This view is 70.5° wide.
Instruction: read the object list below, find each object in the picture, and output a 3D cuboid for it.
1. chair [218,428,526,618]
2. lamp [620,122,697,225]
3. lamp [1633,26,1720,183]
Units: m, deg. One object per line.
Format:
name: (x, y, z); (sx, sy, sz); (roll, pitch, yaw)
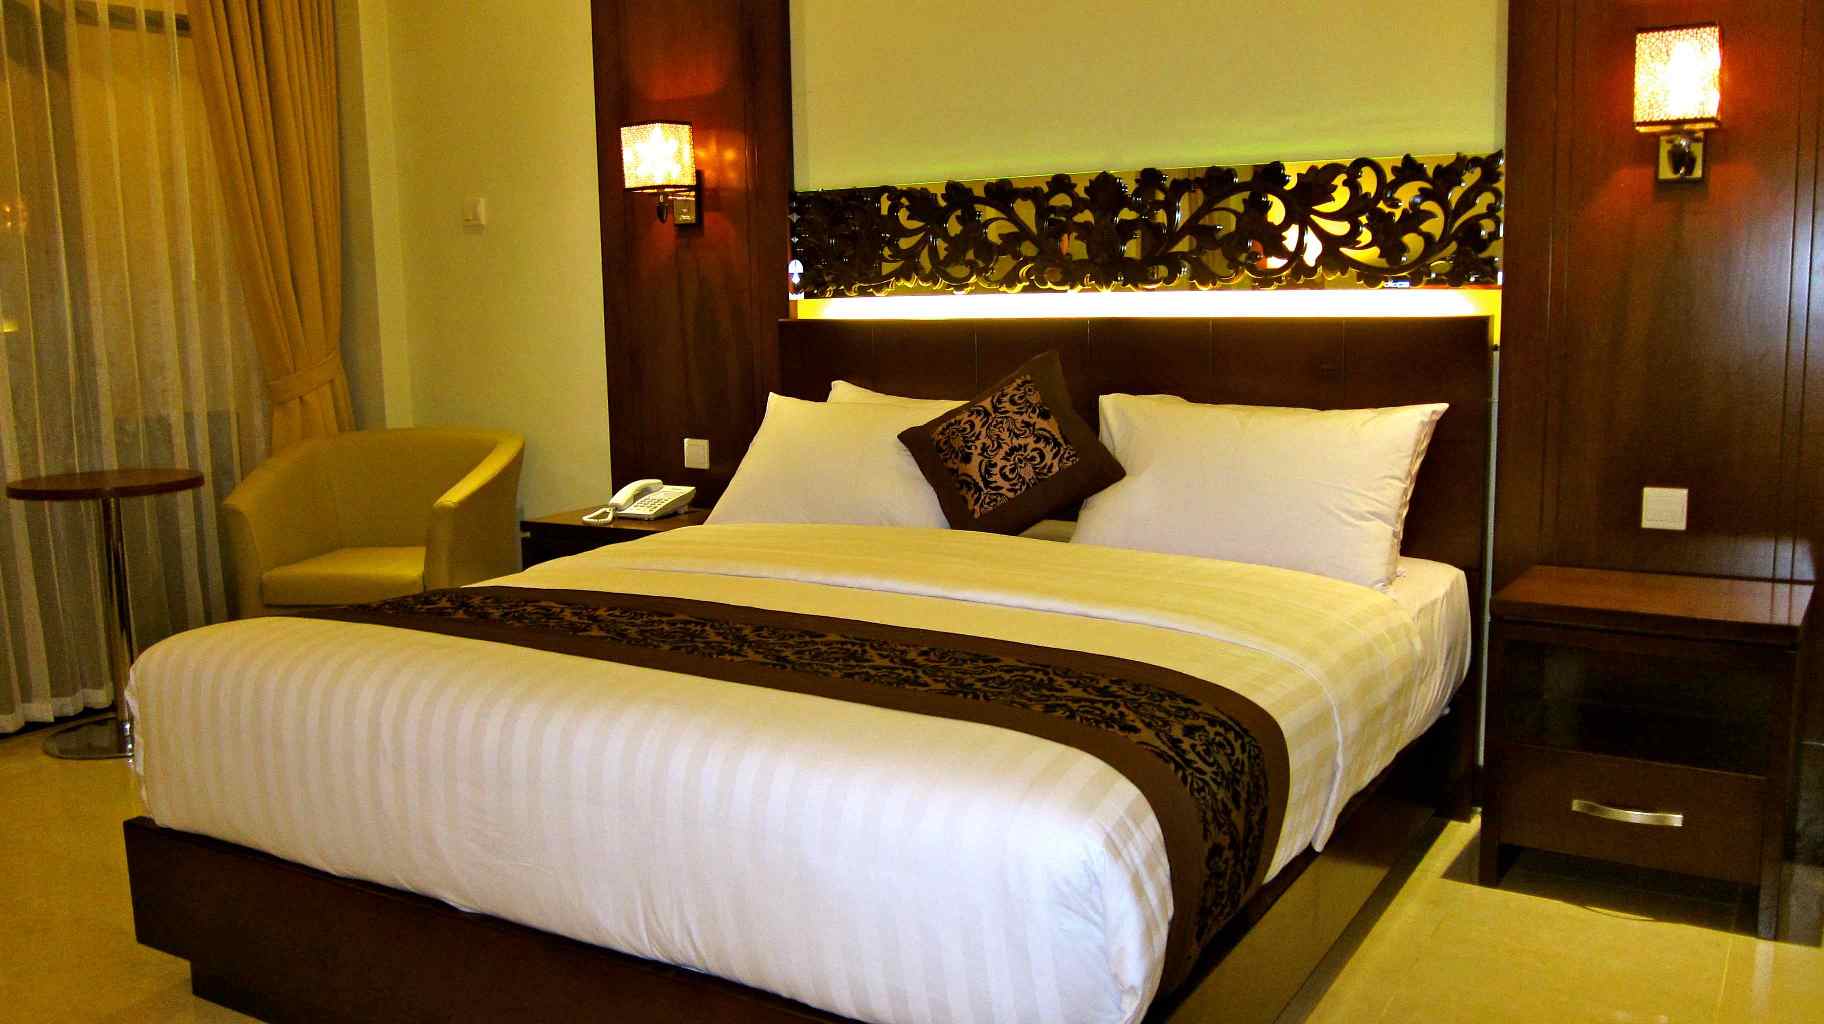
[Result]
chair: (-2.488, 0.125, 6.114); (1.201, 0.907, 0.945); (0, 12, 13)
lamp: (-1.177, -1.564, 5.995); (0.335, 0.456, 0.220); (-1, 14, -1)
lamp: (2.710, -1.445, 4.557); (0.295, 0.488, 0.136); (2, 4, 31)
